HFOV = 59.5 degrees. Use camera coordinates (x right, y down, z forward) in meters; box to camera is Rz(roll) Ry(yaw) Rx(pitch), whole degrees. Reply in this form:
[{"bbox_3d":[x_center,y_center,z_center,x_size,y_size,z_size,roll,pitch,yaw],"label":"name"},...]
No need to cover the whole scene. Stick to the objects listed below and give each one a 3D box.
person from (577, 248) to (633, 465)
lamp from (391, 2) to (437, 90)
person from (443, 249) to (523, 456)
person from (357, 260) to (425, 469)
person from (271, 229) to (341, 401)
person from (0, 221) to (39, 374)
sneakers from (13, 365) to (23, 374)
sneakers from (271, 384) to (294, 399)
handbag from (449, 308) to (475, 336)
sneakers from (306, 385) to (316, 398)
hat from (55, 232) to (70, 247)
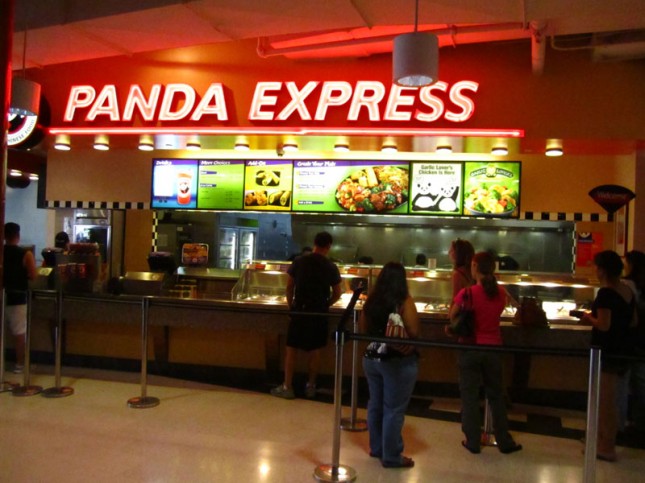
[{"bbox_3d":[2.358,0.939,4.715,0.397,1.684,0.523,5,7,29],"label":"person"},{"bbox_3d":[0.786,-1.532,4.745,0.366,0.432,0.251,2,6,3],"label":"lamp"},{"bbox_3d":[1.373,0.930,4.706,0.641,1.650,0.522,4,6,19],"label":"person"},{"bbox_3d":[0.521,0.974,4.437,0.471,1.604,0.380,2,6,9],"label":"person"},{"bbox_3d":[-0.167,0.777,5.866,0.658,1.720,0.678,2,6,5],"label":"person"},{"bbox_3d":[-3.461,0.655,6.471,0.343,1.706,1.246,-2,7,-27],"label":"person"},{"bbox_3d":[-3.437,1.450,6.373,0.140,0.058,0.050,-11,-12,42],"label":"sneakers"},{"bbox_3d":[-0.397,1.552,5.881,0.259,0.124,0.107,4,-1,22],"label":"sneakers"},{"bbox_3d":[1.180,0.667,4.712,0.213,0.283,0.166,7,11,33],"label":"handbag"},{"bbox_3d":[-0.118,1.545,5.948,0.113,0.156,0.204,1,7,0],"label":"sneakers"},{"bbox_3d":[-3.842,-0.038,8.356,0.176,0.240,0.244,6,13,-22],"label":"hat"}]
